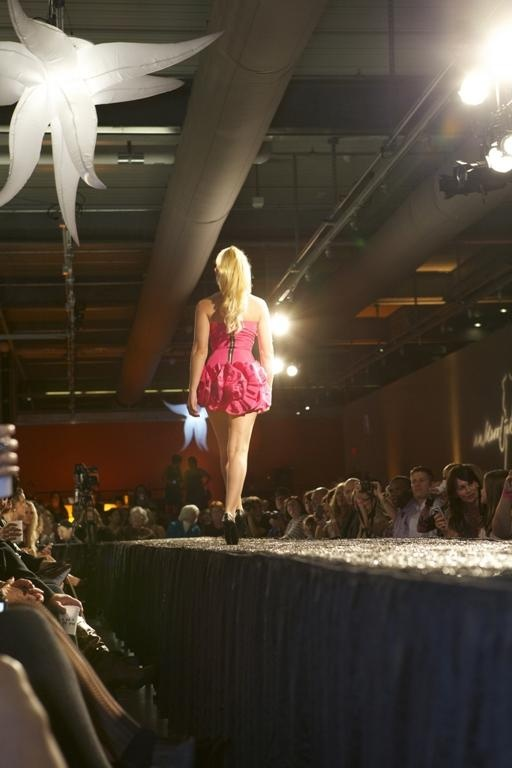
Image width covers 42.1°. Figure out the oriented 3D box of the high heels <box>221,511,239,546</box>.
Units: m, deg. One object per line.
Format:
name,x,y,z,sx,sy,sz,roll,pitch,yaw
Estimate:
high heels,-0.099,0.591,2.727,0.077,0.119,0.080,-1,-10,21
